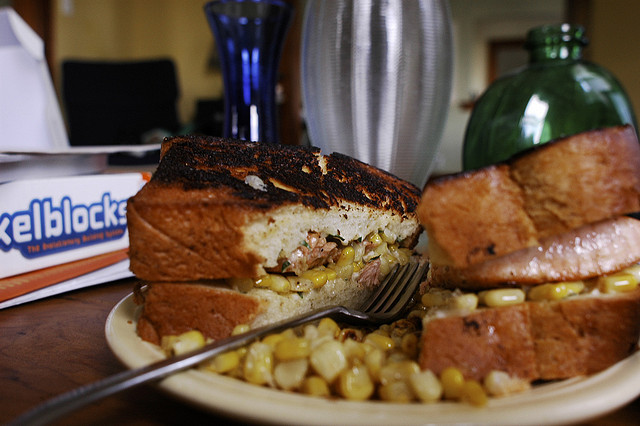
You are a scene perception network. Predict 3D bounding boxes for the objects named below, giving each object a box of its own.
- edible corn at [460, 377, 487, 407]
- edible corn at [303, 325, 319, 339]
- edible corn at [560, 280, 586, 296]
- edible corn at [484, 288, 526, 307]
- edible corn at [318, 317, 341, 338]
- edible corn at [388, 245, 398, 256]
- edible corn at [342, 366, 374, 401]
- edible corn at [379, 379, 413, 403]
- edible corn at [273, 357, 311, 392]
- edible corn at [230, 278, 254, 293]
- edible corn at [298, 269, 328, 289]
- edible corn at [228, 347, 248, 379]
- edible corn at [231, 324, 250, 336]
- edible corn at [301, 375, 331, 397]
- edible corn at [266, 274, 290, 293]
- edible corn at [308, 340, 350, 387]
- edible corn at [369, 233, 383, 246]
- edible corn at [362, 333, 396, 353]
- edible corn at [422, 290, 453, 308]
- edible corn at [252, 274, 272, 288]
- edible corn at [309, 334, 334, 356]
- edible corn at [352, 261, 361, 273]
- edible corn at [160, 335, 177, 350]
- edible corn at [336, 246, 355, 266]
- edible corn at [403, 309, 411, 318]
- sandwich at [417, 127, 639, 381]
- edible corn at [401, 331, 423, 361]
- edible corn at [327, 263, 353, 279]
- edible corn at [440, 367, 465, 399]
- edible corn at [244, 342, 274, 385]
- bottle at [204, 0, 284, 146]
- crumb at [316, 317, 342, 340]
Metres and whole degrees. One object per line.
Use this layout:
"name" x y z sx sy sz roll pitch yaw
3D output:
"edible corn" 0.318 0.362 1.174 0.039 0.029 0.051 1 26 0
"edible corn" -0.019 0.270 1.320 0.025 0.026 0.024 -1 8 -16
"edible corn" 0.600 0.172 1.352 0.033 0.012 0.034 -8 24 -10
"edible corn" 0.431 0.195 1.337 0.084 0.030 0.039 -3 49 -6
"edible corn" 0.022 0.268 1.384 0.041 0.011 0.043 43 19 16
"edible corn" 0.217 0.108 1.695 0.027 0.008 0.027 1 45 -48
"edible corn" 0.084 0.361 1.223 0.058 0.018 0.056 -12 56 -33
"edible corn" 0.162 0.375 1.218 0.047 0.012 0.047 -5 20 -3
"edible corn" -0.065 0.349 1.264 0.071 0.075 0.019 0 -12 9
"edible corn" -0.197 0.180 1.456 0.040 0.040 0.010 -5 5 4
"edible corn" -0.014 0.170 1.515 0.046 0.022 0.056 35 22 33
"edible corn" -0.181 0.340 1.311 0.052 0.015 0.053 -20 47 -21
"edible corn" -0.189 0.276 1.378 0.025 0.014 0.026 -25 12 -8
"edible corn" -0.019 0.364 1.211 0.042 0.022 0.043 26 47 25
"edible corn" -0.108 0.178 1.489 0.052 0.030 0.039 18 -5 -21
"edible corn" 0.027 0.326 1.253 0.084 0.023 0.087 40 71 20
"edible corn" 0.159 0.075 1.632 0.015 0.028 0.027 2 58 51
"edible corn" 0.145 0.303 1.365 0.065 0.023 0.037 10 11 5
"edible corn" 0.283 0.207 1.397 0.045 0.012 0.045 -10 19 -3
"edible corn" -0.145 0.174 1.463 0.031 0.014 0.031 -11 26 -25
"edible corn" 0.000 0.293 1.290 0.033 0.009 0.033 2 24 41
"edible corn" 0.102 0.150 1.607 0.024 0.018 0.024 -27 17 1
"edible corn" -0.355 0.301 1.355 0.025 0.033 0.047 0 -1 17
"edible corn" 0.073 0.120 1.578 0.032 0.019 0.060 25 66 -3
"edible corn" 0.236 0.267 1.554 0.018 0.004 0.018 -8 19 27
"sandwich" 0.500 0.099 1.344 0.537 0.536 0.312 1 22 3
"edible corn" 0.213 0.309 1.343 0.056 0.015 0.054 12 48 -17
"edible corn" 0.062 0.158 1.580 0.046 0.014 0.046 -4 44 -22
"edible corn" 0.278 0.352 1.210 0.053 0.066 0.053 -3 21 -8
"edible corn" -0.138 0.335 1.297 0.073 0.027 0.105 -11 55 5
"bottle" -0.265 -0.507 2.147 0.286 0.518 0.248 -4 22 -10
"crumb" 0.021 0.273 1.356 0.045 0.013 0.048 42 30 16
